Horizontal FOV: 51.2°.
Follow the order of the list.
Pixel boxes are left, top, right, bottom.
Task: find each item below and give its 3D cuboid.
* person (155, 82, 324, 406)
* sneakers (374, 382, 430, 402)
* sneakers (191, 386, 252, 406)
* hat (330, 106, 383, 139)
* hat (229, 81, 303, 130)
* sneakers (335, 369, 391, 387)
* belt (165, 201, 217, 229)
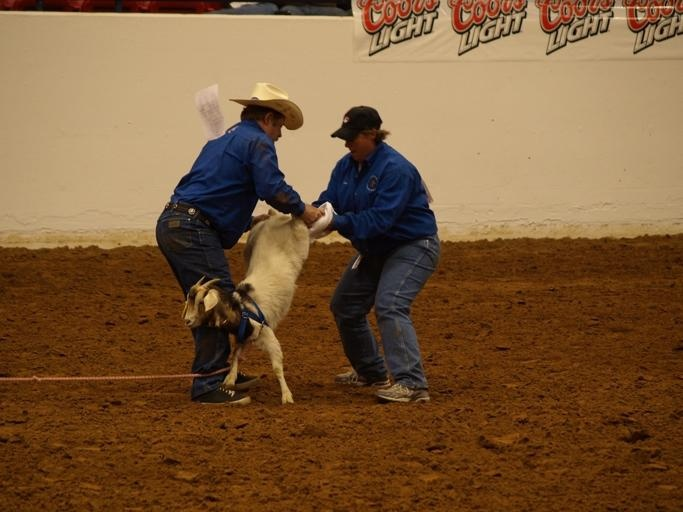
[{"bbox_3d":[-0.894,-0.105,6.137,1.276,2.675,0.659,-9,14,-21],"label":"person"},{"bbox_3d":[0.536,1.195,6.282,0.484,0.171,0.169,4,-5,-12],"label":"sneakers"},{"bbox_3d":[-0.989,1.177,6.151,0.574,0.170,0.169,-3,5,-3],"label":"sneakers"},{"bbox_3d":[0.158,-1.171,6.324,0.462,0.199,0.275,-8,15,-22],"label":"hat"},{"bbox_3d":[-0.633,-1.361,6.172,0.649,0.204,0.540,11,9,-28],"label":"hat"},{"bbox_3d":[0.219,1.178,6.852,0.517,0.177,0.179,4,2,6],"label":"sneakers"},{"bbox_3d":[-1.266,-0.330,5.939,0.398,0.240,0.150,-4,13,-3],"label":"belt"}]
